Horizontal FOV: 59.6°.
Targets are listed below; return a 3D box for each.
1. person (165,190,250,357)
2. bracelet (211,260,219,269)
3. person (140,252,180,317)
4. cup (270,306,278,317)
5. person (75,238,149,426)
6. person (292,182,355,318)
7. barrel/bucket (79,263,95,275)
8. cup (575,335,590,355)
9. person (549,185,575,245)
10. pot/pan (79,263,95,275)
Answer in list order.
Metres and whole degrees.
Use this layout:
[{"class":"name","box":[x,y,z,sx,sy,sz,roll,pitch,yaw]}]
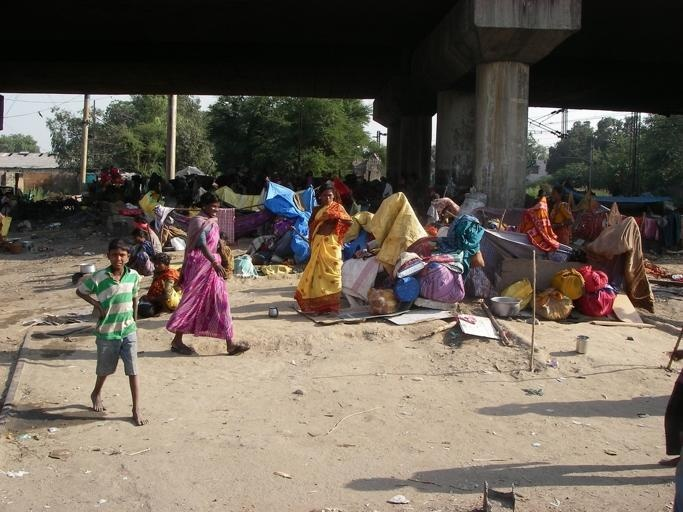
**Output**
[{"class":"person","box":[-1.608,0.233,7.176,0.928,1.970,0.610,-3,16,-15]},{"class":"bracelet","box":[-1.449,0.093,6.968,0.054,0.066,0.070,-6,-13,-17]},{"class":"person","box":[-2.711,0.392,8.924,0.729,0.871,0.604,0,6,-36]},{"class":"cup","box":[-0.950,0.818,8.757,0.127,0.112,0.103,-2,7,-13]},{"class":"person","box":[-2.123,0.715,5.631,0.542,1.668,0.653,-6,17,-23]},{"class":"person","box":[-0.229,-0.065,8.578,0.761,1.875,0.473,0,15,-4]},{"class":"barrel/bucket","box":[-4.532,0.221,10.762,0.300,0.169,0.286,1,-3,0]},{"class":"cup","box":[3.093,1.139,7.667,0.212,0.221,0.204,1,1,0]},{"class":"person","box":[4.221,-0.719,11.389,0.453,1.116,0.885,7,16,20]},{"class":"pot/pan","box":[-4.529,0.224,10.765,0.299,0.172,0.287,1,-3,-1]}]
